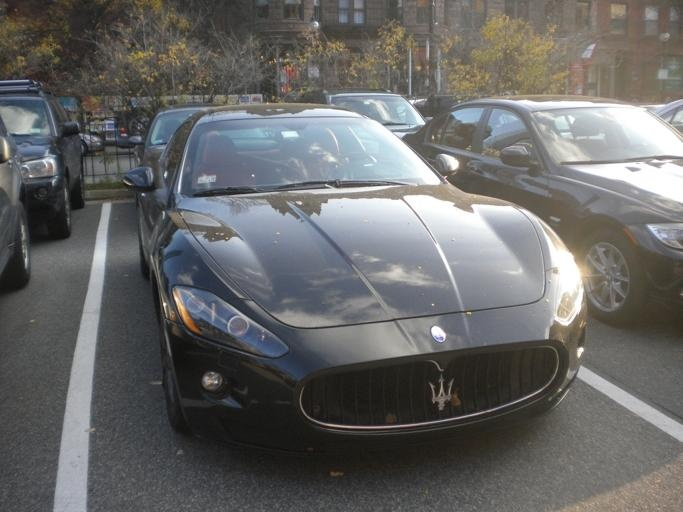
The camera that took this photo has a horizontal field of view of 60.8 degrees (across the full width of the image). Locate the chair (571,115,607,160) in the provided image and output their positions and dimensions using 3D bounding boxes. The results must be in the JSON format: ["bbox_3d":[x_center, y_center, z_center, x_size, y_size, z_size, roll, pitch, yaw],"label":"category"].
[{"bbox_3d":[2.581,-1.231,6.086,0.350,0.374,0.577,6,16,24],"label":"chair"}]

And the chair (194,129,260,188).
[{"bbox_3d":[-0.936,-0.765,4.584,0.463,0.385,0.559,-5,15,-15],"label":"chair"}]
